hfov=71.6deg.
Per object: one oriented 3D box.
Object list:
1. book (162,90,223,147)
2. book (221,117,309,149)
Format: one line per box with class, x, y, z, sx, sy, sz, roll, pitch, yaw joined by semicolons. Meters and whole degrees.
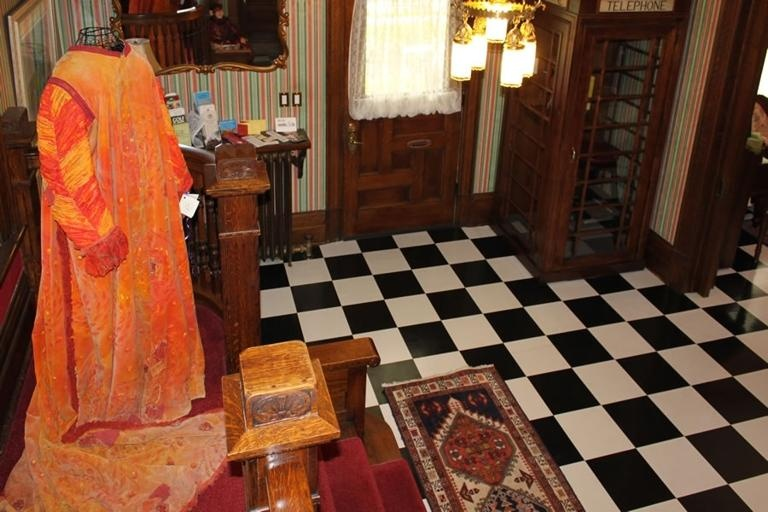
book;-1.751;-1.242;4.894;0.440;0.628;0.273;-3;-2;14
book;-1.155;-1.177;5.151;0.799;0.215;0.424;-12;31;-15
